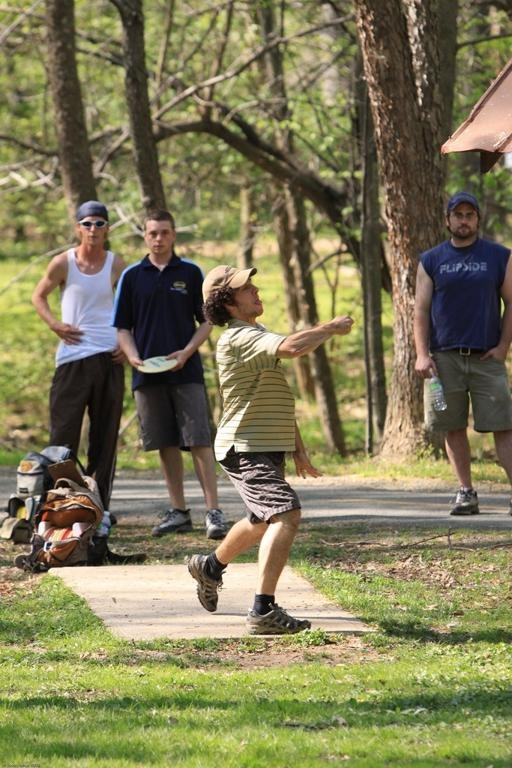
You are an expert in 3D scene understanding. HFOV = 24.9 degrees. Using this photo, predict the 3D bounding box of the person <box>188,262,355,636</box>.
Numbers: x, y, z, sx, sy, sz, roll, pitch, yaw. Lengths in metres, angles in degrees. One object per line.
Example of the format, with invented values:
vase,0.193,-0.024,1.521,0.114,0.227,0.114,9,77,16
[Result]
person,0.048,0.280,5.255,0.688,1.674,0.932,-10,6,-22

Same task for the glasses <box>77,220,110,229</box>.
glasses,-1.006,-0.997,7.247,0.162,0.064,0.078,-7,5,-11

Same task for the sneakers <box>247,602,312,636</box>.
sneakers,0.148,1.063,5.238,0.365,0.151,0.110,0,2,-6

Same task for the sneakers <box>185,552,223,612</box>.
sneakers,-0.232,0.932,5.534,0.182,0.300,0.118,-6,15,20

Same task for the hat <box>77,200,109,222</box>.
hat,-1.030,-1.123,7.327,0.209,0.132,0.187,-1,-4,-2
